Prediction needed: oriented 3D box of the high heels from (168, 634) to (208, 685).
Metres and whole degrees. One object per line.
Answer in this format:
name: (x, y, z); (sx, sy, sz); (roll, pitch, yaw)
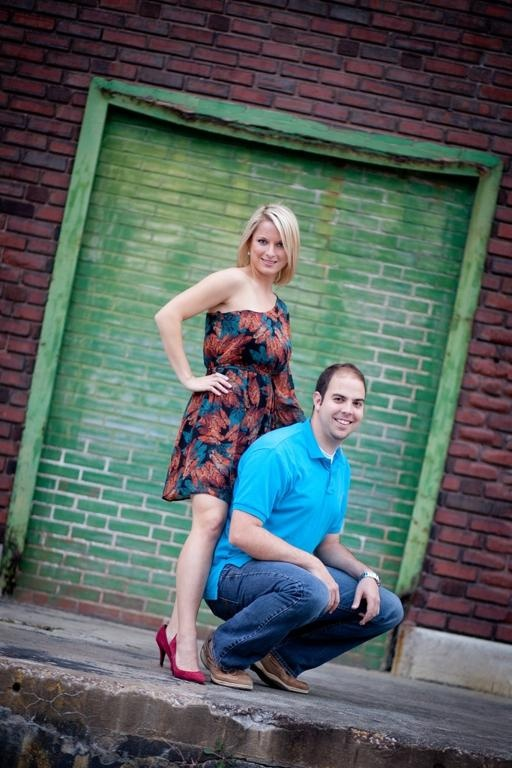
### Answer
high heels: (-0.245, 0.995, 3.296); (0.219, 0.117, 0.109); (4, -11, 44)

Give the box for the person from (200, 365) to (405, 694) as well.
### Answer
person: (0.196, 0.530, 3.419); (0.692, 0.858, 0.442); (19, -8, -36)

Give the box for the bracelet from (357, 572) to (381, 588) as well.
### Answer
bracelet: (0.423, 0.734, 3.438); (0.055, 0.065, 0.067); (8, -19, -2)

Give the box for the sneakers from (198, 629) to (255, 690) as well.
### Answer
sneakers: (-0.109, 1.030, 3.333); (0.106, 0.104, 0.294); (10, -7, -38)
